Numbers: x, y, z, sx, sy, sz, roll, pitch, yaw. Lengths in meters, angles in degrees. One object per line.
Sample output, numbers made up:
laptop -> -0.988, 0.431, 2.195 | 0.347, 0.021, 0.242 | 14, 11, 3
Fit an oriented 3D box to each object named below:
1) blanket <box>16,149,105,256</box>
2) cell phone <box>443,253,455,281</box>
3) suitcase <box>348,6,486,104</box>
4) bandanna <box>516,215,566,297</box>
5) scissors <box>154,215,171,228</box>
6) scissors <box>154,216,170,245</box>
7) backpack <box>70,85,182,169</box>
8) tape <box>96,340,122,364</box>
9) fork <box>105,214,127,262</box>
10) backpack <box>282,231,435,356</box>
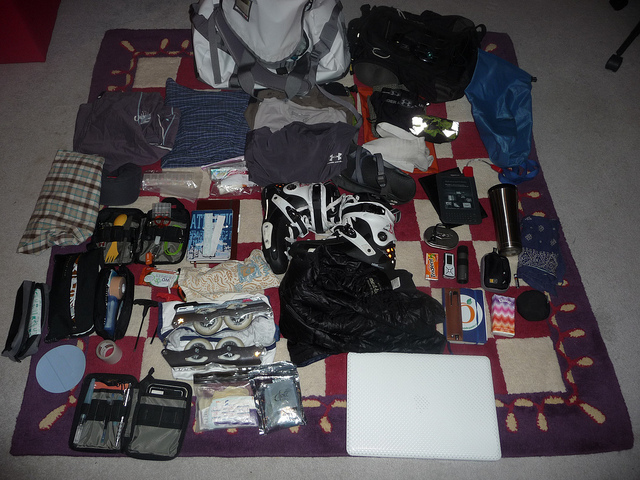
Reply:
blanket -> -1.861, -0.261, 4.165 | 0.506, 0.154, 0.797 | 8, 78, -4
cell phone -> 0.944, 0.192, 4.014 | 0.090, 0.045, 0.178 | 0, 72, 2
suitcase -> 0.748, -1.528, 4.471 | 1.055, 0.399, 0.690 | 21, 62, 4
bandanna -> 1.615, 0.104, 4.056 | 0.361, 0.113, 0.544 | 10, 68, 8
scissors -> -1.164, -0.138, 4.119 | 0.096, 0.030, 0.088 | -5, 83, -8
scissors -> -1.170, -0.076, 4.114 | 0.116, 0.053, 0.194 | 7, 86, -4
backpack -> -1.490, -0.863, 4.308 | 0.832, 0.224, 0.598 | -5, 63, -10
tape -> -1.430, 0.763, 3.822 | 0.136, 0.147, 0.154 | 1, 58, -8
fork -> -1.487, -0.017, 4.073 | 0.099, 0.040, 0.357 | 6, 72, -6
backpack -> 0.270, 0.371, 3.846 | 1.046, 0.407, 0.784 | 2, 62, -6
